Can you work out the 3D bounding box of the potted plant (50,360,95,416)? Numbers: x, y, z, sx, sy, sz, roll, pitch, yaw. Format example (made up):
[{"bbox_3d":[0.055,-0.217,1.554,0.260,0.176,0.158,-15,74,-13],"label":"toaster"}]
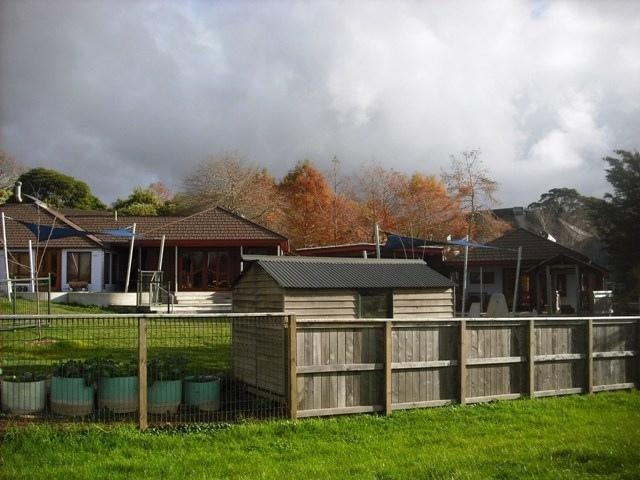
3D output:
[{"bbox_3d":[-5.769,3.518,17.571,0.802,1.080,0.883,-5,-8,33],"label":"potted plant"}]

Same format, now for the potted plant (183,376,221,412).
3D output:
[{"bbox_3d":[-2.786,3.638,17.906,0.690,0.644,0.768,-1,-2,24],"label":"potted plant"}]

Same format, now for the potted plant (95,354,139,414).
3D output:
[{"bbox_3d":[-4.693,3.385,17.638,0.893,1.187,0.931,-8,-8,43],"label":"potted plant"}]
